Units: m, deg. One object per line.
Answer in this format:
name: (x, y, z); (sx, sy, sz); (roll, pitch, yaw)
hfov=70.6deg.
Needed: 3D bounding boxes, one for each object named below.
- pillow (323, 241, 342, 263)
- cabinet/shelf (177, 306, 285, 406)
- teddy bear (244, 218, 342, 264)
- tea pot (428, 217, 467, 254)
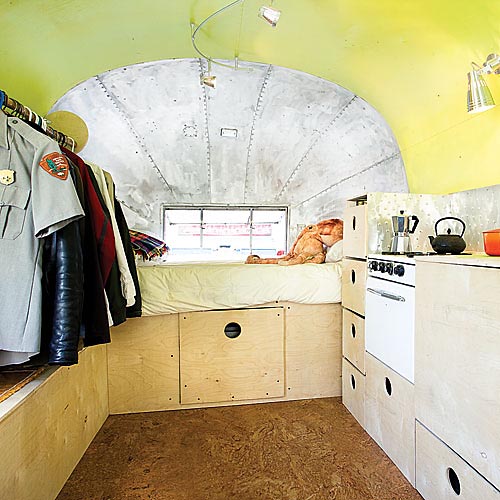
pillow: (0.648, 0.017, 2.787); (0.044, 0.148, 0.156); (20, 1, -4)
cabinet/shelf: (-0.112, 0.678, 2.726); (0.946, 0.905, 0.556); (-1, 6, -4)
teddy bear: (0.471, -0.043, 2.876); (0.536, 0.242, 0.461); (-5, 11, 5)
tea pot: (1.133, -0.085, 2.021); (0.202, 0.231, 0.166); (0, -3, 4)
